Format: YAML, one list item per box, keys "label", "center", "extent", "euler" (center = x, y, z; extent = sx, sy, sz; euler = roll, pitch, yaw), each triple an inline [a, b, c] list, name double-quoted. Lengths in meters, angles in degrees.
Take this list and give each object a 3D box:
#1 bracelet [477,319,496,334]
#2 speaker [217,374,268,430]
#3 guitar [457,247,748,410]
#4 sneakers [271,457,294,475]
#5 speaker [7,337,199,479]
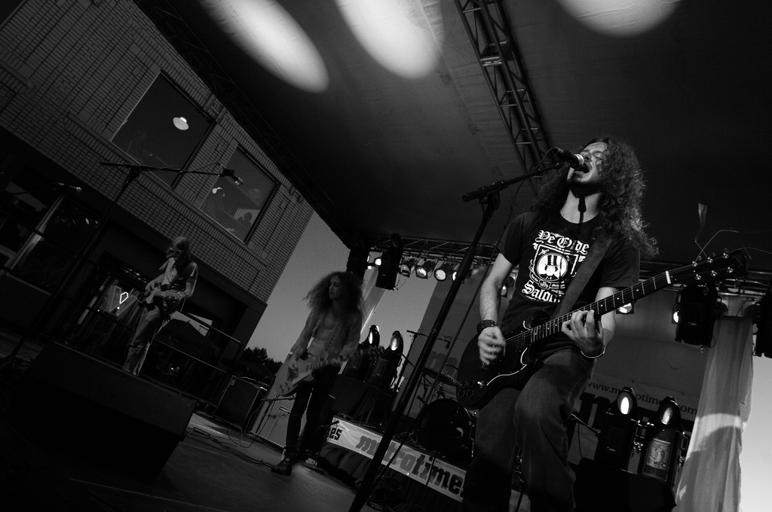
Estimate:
- label: "bracelet"
  center: [0.887, 0.622, 4.284]
  extent: [0.125, 0.069, 0.132]
  euler: [1, -30, -3]
- label: "speaker"
  center: [-2.767, 2.774, 9.146]
  extent: [0.402, 0.868, 1.342]
  euler: [29, -22, -32]
- label: "guitar"
  center: [3.189, 1.017, 6.275]
  extent: [3.373, 1.292, 0.471]
  euler: [-28, -50, 34]
- label: "sneakers"
  center: [-1.178, 2.406, 5.507]
  extent: [0.225, 0.248, 0.189]
  euler: [3, -10, 1]
- label: "speaker"
  center: [-2.485, 1.247, 4.488]
  extent: [1.628, 0.837, 1.018]
  euler: [21, -47, -12]
